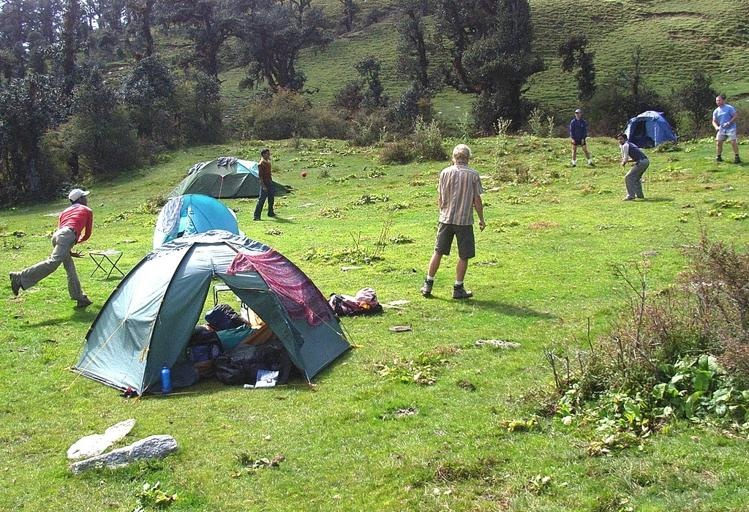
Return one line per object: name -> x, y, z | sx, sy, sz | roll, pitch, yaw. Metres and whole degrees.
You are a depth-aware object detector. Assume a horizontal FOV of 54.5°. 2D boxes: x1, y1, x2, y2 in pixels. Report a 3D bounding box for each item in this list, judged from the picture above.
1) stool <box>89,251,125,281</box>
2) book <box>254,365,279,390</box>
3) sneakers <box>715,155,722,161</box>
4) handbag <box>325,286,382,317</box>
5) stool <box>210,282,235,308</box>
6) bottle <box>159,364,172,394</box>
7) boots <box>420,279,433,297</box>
stool -> -8.102, 0.156, 21.895 | 1.160, 0.957, 1.117 | -1, 17, -13
book -> -2.276, 2.581, 15.376 | 0.497, 0.296, 0.399 | -2, 10, 0
sneakers -> 13.255, -3.765, 27.985 | 0.232, 0.226, 0.204 | 0, 1, -44
handbag -> -0.458, 1.117, 17.647 | 0.886, 0.395, 0.704 | -3, 7, -5
stool -> -3.557, 0.907, 17.445 | 0.687, 0.718, 0.719 | -1, 8, -18
bottle -> -4.370, 2.588, 15.222 | 0.253, 0.477, 0.304 | -5, 10, -17
boots -> 1.333, 0.817, 18.204 | 0.174, 0.373, 0.532 | 8, 10, -10
